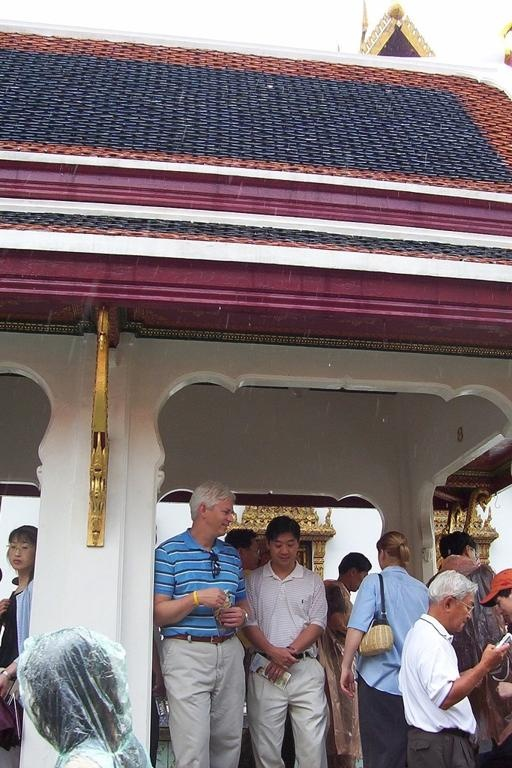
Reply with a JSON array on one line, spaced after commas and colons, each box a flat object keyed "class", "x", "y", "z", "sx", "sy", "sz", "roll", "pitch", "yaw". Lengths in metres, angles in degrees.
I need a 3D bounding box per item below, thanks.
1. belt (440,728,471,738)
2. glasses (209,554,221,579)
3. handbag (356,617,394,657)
[{"class": "belt", "x": 0.781, "y": 1.354, "z": 2.764, "sx": 0.075, "sy": 0.019, "sz": 0.074, "roll": 2, "pitch": -3, "yaw": 26}, {"class": "glasses", "x": -0.218, "y": 0.950, "z": 3.729, "sx": 0.059, "sy": 0.136, "sz": 0.042, "roll": 7, "pitch": -20, "yaw": -29}, {"class": "handbag", "x": 0.613, "y": 1.304, "z": 3.656, "sx": 0.067, "sy": 0.148, "sz": 0.156, "roll": 25, "pitch": -40, "yaw": -23}]
